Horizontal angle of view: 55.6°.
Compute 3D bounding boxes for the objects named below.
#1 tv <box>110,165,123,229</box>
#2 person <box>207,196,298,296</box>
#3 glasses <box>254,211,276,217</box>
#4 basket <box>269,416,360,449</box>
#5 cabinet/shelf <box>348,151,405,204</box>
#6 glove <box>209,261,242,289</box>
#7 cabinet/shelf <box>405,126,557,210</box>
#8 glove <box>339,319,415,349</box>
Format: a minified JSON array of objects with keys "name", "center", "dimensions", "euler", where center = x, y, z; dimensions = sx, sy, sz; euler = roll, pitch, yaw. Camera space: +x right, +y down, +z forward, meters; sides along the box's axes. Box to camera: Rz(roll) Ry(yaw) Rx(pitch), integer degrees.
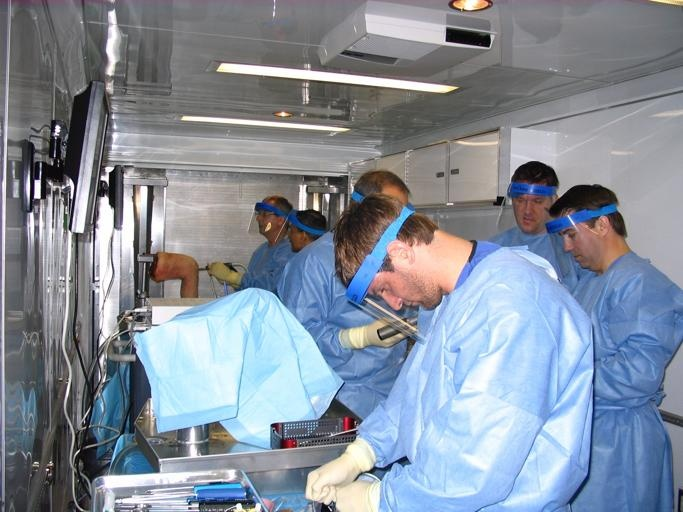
[{"name":"tv","center":[-1.387,-0.349,3.972],"dimensions":[0.074,0.265,0.572],"euler":[1,-3,-20]},{"name":"person","center":[-0.680,-0.058,5.140],"dimensions":[0.733,1.015,0.696],"euler":[5,-3,-5]},{"name":"glasses","center":[-0.575,-0.311,4.880],"dimensions":[0.107,0.027,0.086],"euler":[2,-2,-7]},{"name":"basket","center":[-0.096,0.609,2.219],"dimensions":[0.230,0.059,0.121],"euler":[0,-2,-15]},{"name":"cabinet/shelf","center":[0.150,-0.322,2.688],"dimensions":[0.220,0.212,0.181],"euler":[1,3,19]},{"name":"glove","center":[-0.925,0.162,5.110],"dimensions":[0.216,0.088,0.125],"euler":[30,29,-18]},{"name":"cabinet/shelf","center":[0.909,-0.578,4.641],"dimensions":[0.386,0.464,1.245],"euler":[-3,4,-20]},{"name":"glove","center":[0.147,0.329,2.662],"dimensions":[0.271,0.075,0.082],"euler":[-18,-10,8]}]
